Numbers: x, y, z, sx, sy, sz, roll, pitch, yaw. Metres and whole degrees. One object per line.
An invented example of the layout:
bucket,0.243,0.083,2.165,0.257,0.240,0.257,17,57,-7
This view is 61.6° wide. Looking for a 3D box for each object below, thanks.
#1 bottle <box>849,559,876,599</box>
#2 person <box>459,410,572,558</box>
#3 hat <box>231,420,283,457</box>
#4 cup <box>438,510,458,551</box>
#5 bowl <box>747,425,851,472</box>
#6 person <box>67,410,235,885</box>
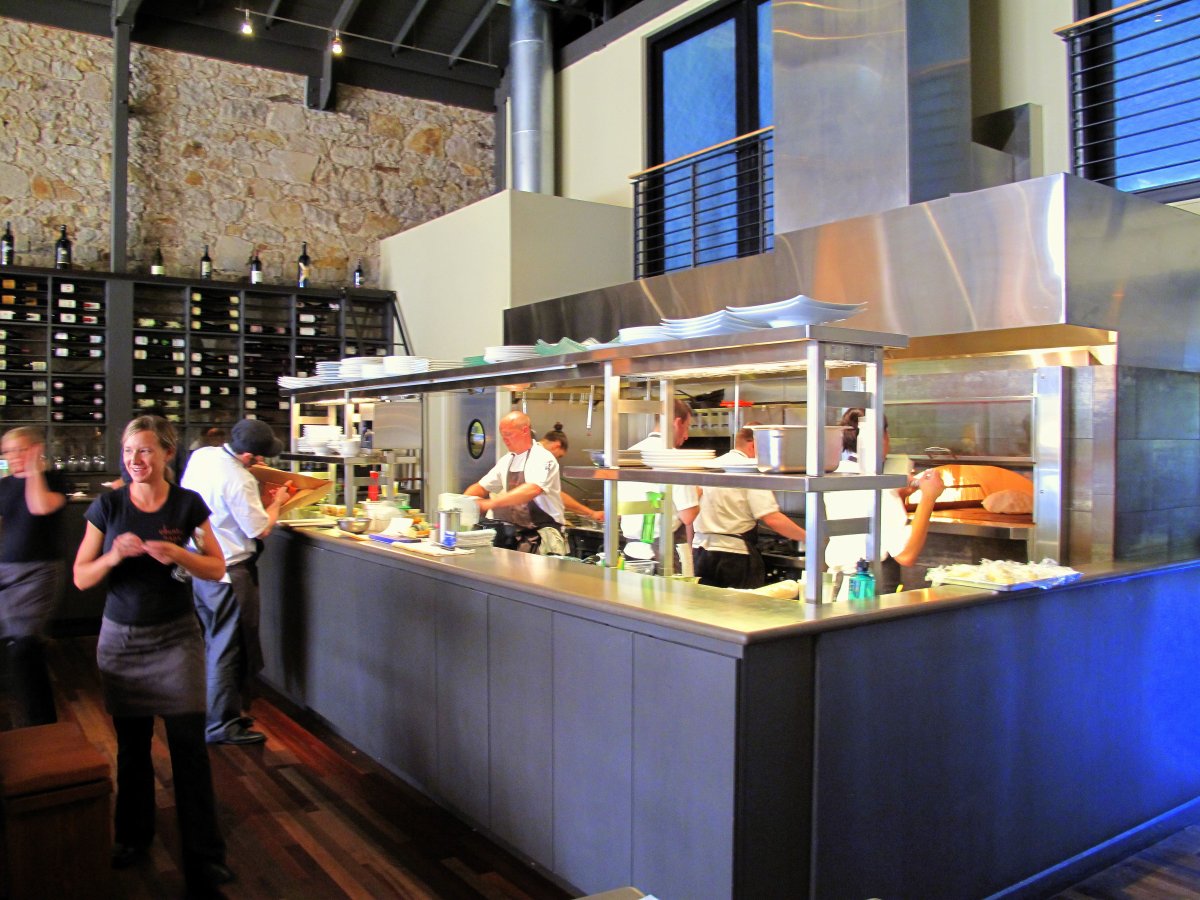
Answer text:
bottle,0.957,0.465,3.652,0.094,0.137,0.221,1,8,13
person,-0.372,0.220,6.479,0.682,0.813,0.637,-4,17,-5
hat,-1.730,-0.045,5.153,0.171,0.121,0.229,37,25,17
cup,-0.720,0.381,4.810,0.089,0.165,0.164,-2,8,-7
bowl,0.698,0.003,3.594,0.233,0.110,0.175,3,-5,-27
person,-1.699,0.772,3.845,0.558,1.785,0.445,0,9,3
